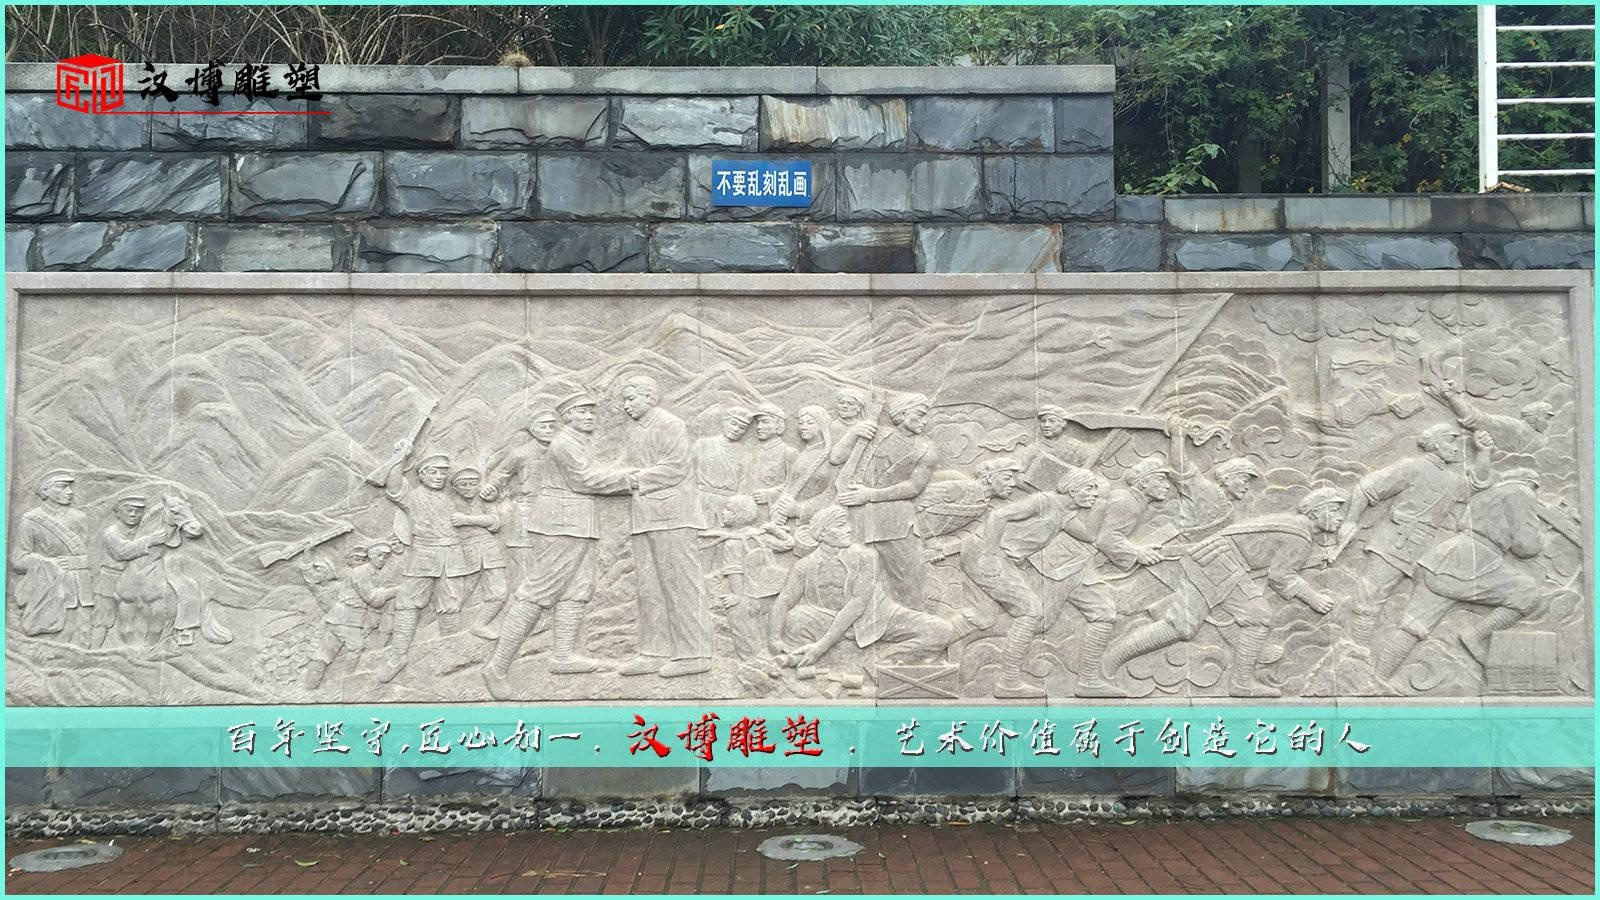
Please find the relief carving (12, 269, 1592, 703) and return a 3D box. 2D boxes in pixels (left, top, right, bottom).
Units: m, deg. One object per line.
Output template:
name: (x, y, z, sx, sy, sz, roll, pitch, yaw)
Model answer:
relief carving: (-0.062, 0.327, 19.327, 13.481, 3.722, 0.949, 0, -12, 0)
